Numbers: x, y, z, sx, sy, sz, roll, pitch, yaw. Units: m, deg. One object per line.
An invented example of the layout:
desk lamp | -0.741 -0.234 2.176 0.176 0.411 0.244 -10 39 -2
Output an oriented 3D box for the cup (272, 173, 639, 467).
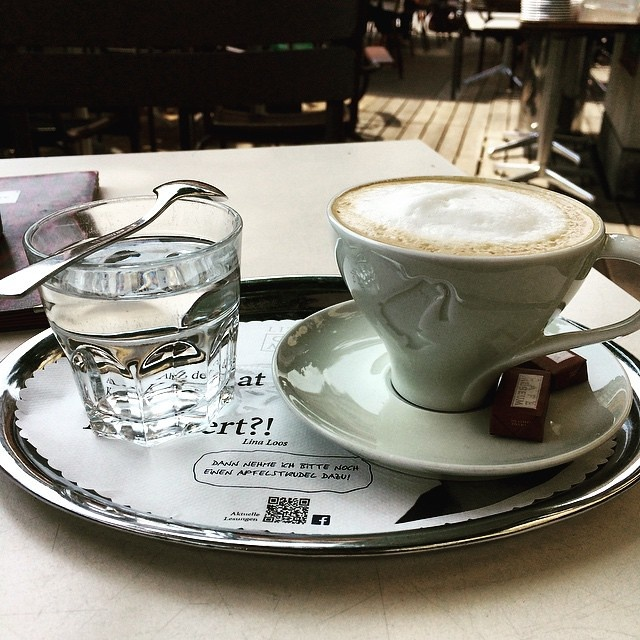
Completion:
cup | 0.078 0.006 0.393 0.255 0.096 0.189 -6 27 -10
